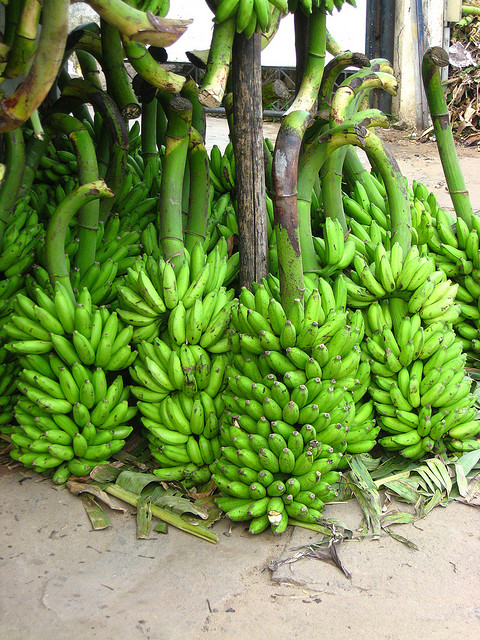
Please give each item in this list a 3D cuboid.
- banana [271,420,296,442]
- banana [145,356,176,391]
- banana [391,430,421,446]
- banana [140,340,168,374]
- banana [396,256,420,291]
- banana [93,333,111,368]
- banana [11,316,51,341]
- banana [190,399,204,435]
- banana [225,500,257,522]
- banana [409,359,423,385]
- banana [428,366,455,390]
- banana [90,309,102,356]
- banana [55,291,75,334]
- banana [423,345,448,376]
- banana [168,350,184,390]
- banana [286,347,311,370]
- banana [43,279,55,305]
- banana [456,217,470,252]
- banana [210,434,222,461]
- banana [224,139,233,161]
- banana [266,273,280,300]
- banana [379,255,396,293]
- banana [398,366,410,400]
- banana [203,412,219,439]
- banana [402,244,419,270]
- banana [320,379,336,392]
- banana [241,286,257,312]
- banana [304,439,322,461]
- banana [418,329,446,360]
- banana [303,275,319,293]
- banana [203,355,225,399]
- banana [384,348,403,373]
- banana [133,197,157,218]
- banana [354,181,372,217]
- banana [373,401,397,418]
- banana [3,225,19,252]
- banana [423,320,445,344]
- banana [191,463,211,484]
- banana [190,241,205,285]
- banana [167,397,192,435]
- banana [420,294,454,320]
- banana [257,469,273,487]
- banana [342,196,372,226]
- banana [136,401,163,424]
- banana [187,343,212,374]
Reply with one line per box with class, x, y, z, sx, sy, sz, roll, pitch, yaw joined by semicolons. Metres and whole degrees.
banana;0.143;0.357;1.747;0.046;0.098;0.035;-33;39;19
banana;-0.295;0.199;1.976;0.034;0.120;0.042;-31;6;39
banana;0.626;0.444;1.996;0.155;0.047;0.053;-12;-1;-36
banana;-0.324;0.141;2.001;0.030;0.116;0.037;-28;5;27
banana;0.640;-0.176;2.047;0.047;0.170;0.054;22;7;-4
banana;-0.514;0.122;1.976;0.042;0.152;0.049;27;43;10
banana;-0.767;0.029;1.965;0.108;0.031;0.038;35;-13;-20
banana;-0.157;0.362;1.954;0.049;0.139;0.049;-1;8;-28
banana;0.017;0.608;1.735;0.150;0.054;0.039;-5;-2;-42
banana;0.677;0.194;2.063;0.031;0.037;0.110;16;47;-8
banana;0.777;0.202;2.064;0.036;0.052;0.142;23;49;24
banana;-0.540;0.040;1.994;0.038;0.158;0.046;1;-3;-19
banana;-0.646;-0.027;1.960;0.043;0.171;0.052;-3;27;15
banana;0.746;0.158;2.077;0.049;0.162;0.055;30;-6;2
banana;-0.235;0.187;1.943;0.040;0.155;0.052;-2;13;20
banana;0.189;0.133;1.761;0.089;0.034;0.044;27;-7;-2
banana;-0.741;-0.108;2.070;0.022;0.111;0.036;-8;0;-1
banana;1.096;-0.430;2.643;0.046;0.187;0.057;3;-11;-26
banana;-0.089;0.470;1.990;0.024;0.113;0.041;-5;-9;-3
banana;-0.061;-0.880;2.759;0.036;0.034;0.123;17;52;-3
banana;0.129;-0.138;2.048;0.027;0.109;0.037;-30;-20;28
banana;0.566;-0.177;2.066;0.045;0.165;0.053;-19;12;-29
banana;0.615;0.239;2.029;0.032;0.120;0.038;-2;-11;1
banana;-0.112;0.387;1.959;0.041;0.105;0.038;-19;46;-20
banana;0.672;-0.249;2.109;0.038;0.128;0.043;22;-10;-9
banana;0.289;0.217;1.769;0.016;0.053;0.016;-4;38;-43
banana;0.032;-0.078;1.910;0.032;0.106;0.036;-26;3;-13
banana;0.239;0.402;1.673;0.040;0.063;0.021;1;23;-4
banana;0.740;0.094;2.051;0.051;0.164;0.057;36;-23;2
banana;0.261;-0.136;2.001;0.018;0.080;0.027;-31;-23;-3
banana;-0.096;0.219;2.051;0.048;0.184;0.056;11;-4;-18
banana;0.584;0.156;2.036;0.071;0.095;0.073;5;8;17
banana;-0.480;-0.562;2.659;0.032;0.122;0.042;41;-16;-11
banana;0.601;-0.611;2.636;0.046;0.179;0.060;-30;5;-40
banana;0.558;0.340;2.045;0.089;0.025;0.035;32;11;-16
banana;-0.981;-0.353;2.308;0.028;0.118;0.040;17;-32;-4
banana;0.758;0.039;2.097;0.039;0.046;0.139;26;63;25
banana;-0.141;0.575;2.031;0.076;0.038;0.111;-32;-18;4
banana;-0.164;-0.233;2.188;0.041;0.173;0.053;-2;-16;29
banana;-0.229;0.355;1.944;0.050;0.169;0.058;-26;0;14
banana;0.779;-0.053;2.135;0.105;0.030;0.037;-40;24;-18
banana;0.078;0.507;1.694;0.049;0.073;0.054;3;7;3
banana;0.556;-0.520;2.553;0.053;0.197;0.066;-47;14;-30
banana;-0.338;0.344;2.008;0.035;0.116;0.045;-45;13;-13
banana;-0.161;0.119;2.042;0.042;0.067;0.169;-9;47;-21
